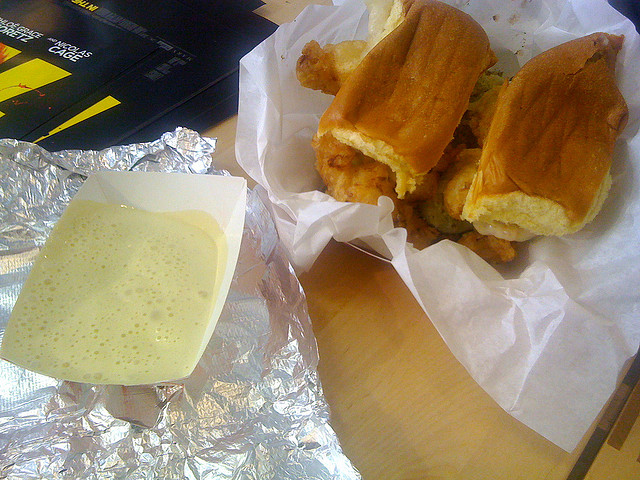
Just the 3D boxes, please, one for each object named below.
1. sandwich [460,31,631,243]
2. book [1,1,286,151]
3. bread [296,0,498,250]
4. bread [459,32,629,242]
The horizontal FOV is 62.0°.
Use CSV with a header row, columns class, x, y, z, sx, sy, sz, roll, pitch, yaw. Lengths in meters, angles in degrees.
class,x,y,z,sx,sy,sz,roll,pitch,yaw
sandwich,0.286,-0.120,0.678,0.170,0.078,0.264,17,78,6
book,-0.350,-0.243,1.026,0.383,0.087,0.380,37,60,9
bread,0.092,-0.149,0.713,0.273,0.119,0.330,13,76,9
bread,0.289,-0.125,0.665,0.165,0.224,0.225,25,44,9
